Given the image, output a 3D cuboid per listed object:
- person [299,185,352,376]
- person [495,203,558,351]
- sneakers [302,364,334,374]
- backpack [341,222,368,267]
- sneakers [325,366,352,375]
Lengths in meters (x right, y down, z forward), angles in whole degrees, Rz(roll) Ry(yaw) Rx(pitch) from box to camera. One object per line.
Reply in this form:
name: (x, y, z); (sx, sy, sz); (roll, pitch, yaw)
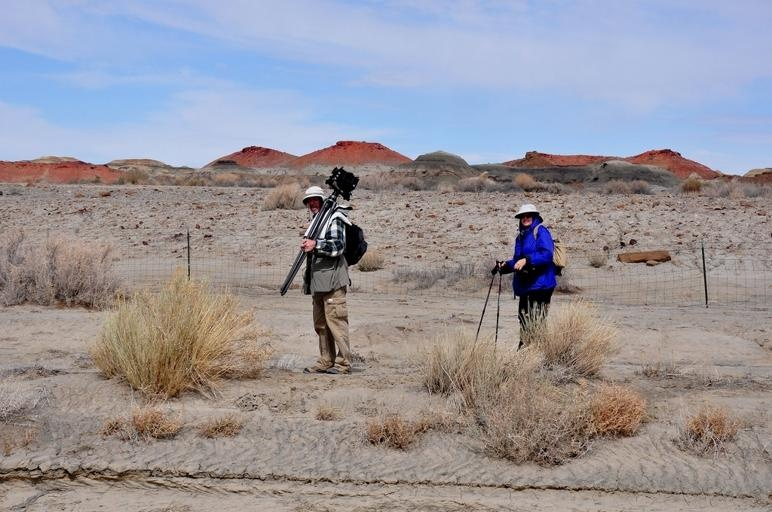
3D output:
person: (-0.842, 0.531, 9.697); (0.717, 2.164, 0.418); (1, 0, -4)
person: (2.070, 0.292, 9.982); (0.867, 1.994, 0.674); (1, 0, -24)
sneakers: (-0.989, 1.609, 9.775); (0.394, 0.149, 0.136); (4, -4, -2)
backpack: (-0.431, -0.181, 10.139); (0.524, 0.847, 0.637); (2, 4, -2)
sneakers: (-0.676, 1.642, 9.828); (0.343, 0.139, 0.120); (5, -6, -8)
